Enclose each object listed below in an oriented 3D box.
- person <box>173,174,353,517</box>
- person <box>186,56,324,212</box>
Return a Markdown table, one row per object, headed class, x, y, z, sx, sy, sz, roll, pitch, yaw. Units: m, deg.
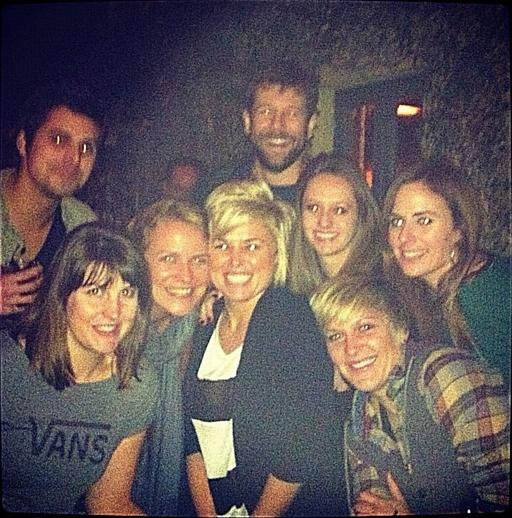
| class | x | y | z | sx | sy | sz | roll | pitch | yaw |
| --- | --- | --- | --- | --- | --- | --- | --- | --- | --- |
| person | 0.084 | 0.674 | 4.641 | 1.159 | 2.440 | 0.268 | 6 | -4 | -10 |
| person | -0.035 | -0.946 | 4.545 | 0.900 | 0.896 | 0.445 | 10 | 5 | -12 |
